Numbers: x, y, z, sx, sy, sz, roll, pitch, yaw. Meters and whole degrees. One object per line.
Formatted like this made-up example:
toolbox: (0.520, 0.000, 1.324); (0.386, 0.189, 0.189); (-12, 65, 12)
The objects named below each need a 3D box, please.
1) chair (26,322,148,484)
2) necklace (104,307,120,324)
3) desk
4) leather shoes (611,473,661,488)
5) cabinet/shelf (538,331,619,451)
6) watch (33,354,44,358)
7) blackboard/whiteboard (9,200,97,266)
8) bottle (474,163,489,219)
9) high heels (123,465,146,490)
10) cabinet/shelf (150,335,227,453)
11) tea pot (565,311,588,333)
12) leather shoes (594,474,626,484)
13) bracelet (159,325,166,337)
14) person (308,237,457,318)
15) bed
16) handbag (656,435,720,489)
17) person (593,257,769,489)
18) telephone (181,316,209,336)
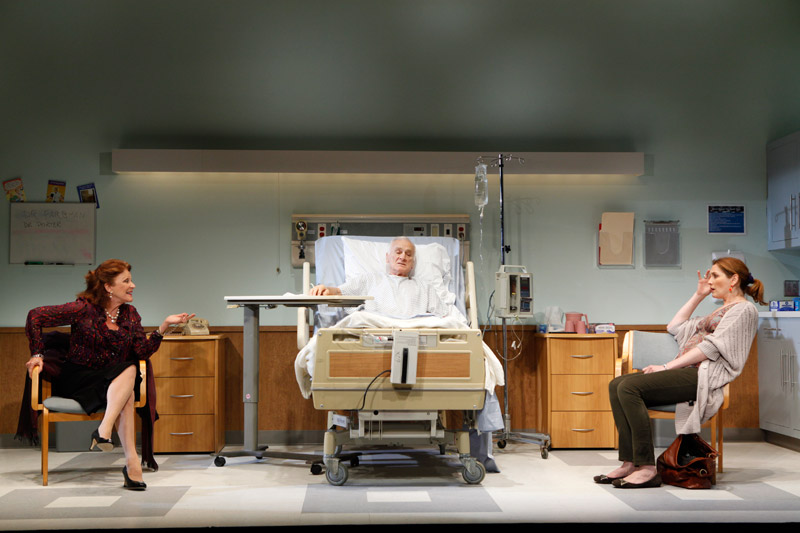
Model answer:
chair: (-2.361, 0.996, 5.302); (0.927, 1.175, 0.886); (-7, -19, -9)
necklace: (-2.187, 0.362, 5.230); (0.102, 0.103, 0.041); (-5, -2, -35)
desk: (-0.809, 0.903, 5.360); (1.290, 1.320, 1.006); (0, -5, 14)
leather shoes: (1.714, 1.575, 4.994); (0.335, 0.121, 0.120); (2, -6, 1)
cabinet/shelf: (1.613, 1.059, 6.251); (0.787, 1.053, 0.775); (3, 10, 29)
watch: (-2.672, 0.658, 5.053); (0.058, 0.023, 0.040); (-1, 2, -45)
blackboard/whiteboard: (-3.256, -0.316, 6.346); (0.603, 0.447, 0.026); (0, 1, -4)
bottle: (0.751, -0.720, 6.331); (0.125, 0.507, 0.467); (0, 2, 7)
high heels: (-1.918, 1.539, 4.905); (0.088, 0.142, 0.286); (9, -13, -40)
cabinet/shelf: (-1.910, 1.147, 6.137); (0.673, 0.982, 0.691); (1, -8, -23)
tea pot: (1.590, 0.506, 6.181); (0.187, 0.162, 0.158); (-3, -2, 12)
leather shoes: (1.530, 1.562, 5.052); (0.162, 0.043, 0.074); (3, -4, -2)
bracelet: (-1.862, 0.496, 5.341); (0.058, 0.063, 0.072); (3, 12, -3)
person: (-0.030, 0.109, 5.527); (0.757, 0.263, 0.881); (0, 29, -2)
bed: (0.013, 0.545, 6.071); (1.326, 1.710, 1.923); (0, -6, -1)
handbag: (2.135, 1.470, 5.124); (0.301, 0.407, 0.413); (-2, -19, 8)
person: (2.115, 0.764, 5.156); (1.224, 1.667, 0.507); (-1, 2, -22)
telephone: (-1.791, 0.520, 5.959); (0.177, 0.100, 0.305); (0, 4, -17)
